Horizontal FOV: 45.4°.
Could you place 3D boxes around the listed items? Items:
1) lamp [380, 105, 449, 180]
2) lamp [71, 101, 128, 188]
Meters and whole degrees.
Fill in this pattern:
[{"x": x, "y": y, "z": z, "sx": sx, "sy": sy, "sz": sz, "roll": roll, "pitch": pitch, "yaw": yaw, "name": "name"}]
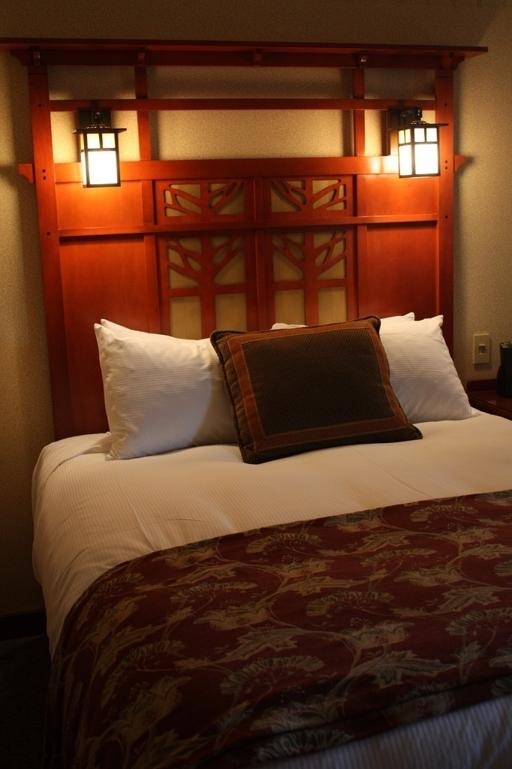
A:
[{"x": 0.628, "y": -0.938, "z": 2.345, "sx": 0.185, "sy": 0.239, "sz": 0.179, "roll": -14, "pitch": 22, "yaw": -25, "name": "lamp"}, {"x": -0.525, "y": -0.813, "z": 2.070, "sx": 0.158, "sy": 0.295, "sz": 0.124, "roll": -6, "pitch": 6, "yaw": -11, "name": "lamp"}]
